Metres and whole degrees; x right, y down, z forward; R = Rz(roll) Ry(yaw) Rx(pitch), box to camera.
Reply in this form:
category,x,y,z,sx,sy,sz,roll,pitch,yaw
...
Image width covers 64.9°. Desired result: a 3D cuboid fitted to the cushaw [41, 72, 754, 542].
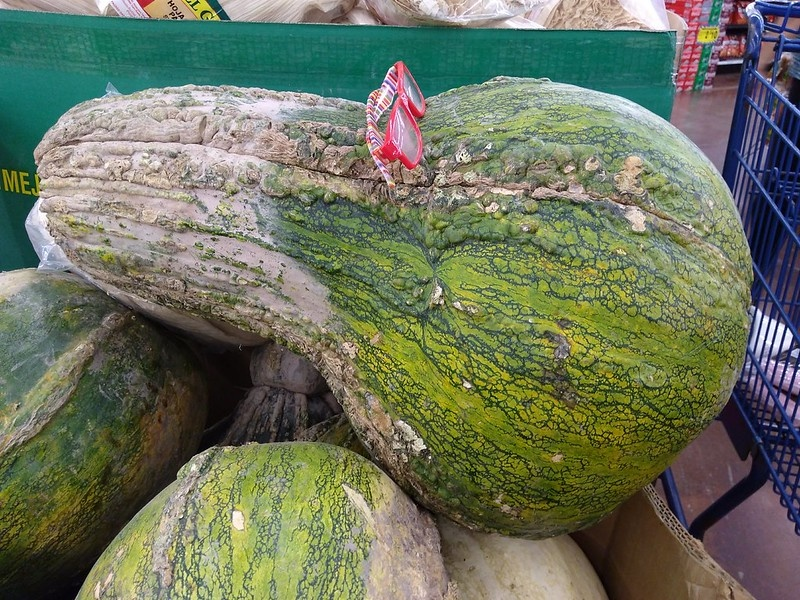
category,x,y,z,sx,sy,sz,roll,pitch,yaw
cushaw,0.011,-0.073,1.273,1.155,0.712,0.682,21,28,18
